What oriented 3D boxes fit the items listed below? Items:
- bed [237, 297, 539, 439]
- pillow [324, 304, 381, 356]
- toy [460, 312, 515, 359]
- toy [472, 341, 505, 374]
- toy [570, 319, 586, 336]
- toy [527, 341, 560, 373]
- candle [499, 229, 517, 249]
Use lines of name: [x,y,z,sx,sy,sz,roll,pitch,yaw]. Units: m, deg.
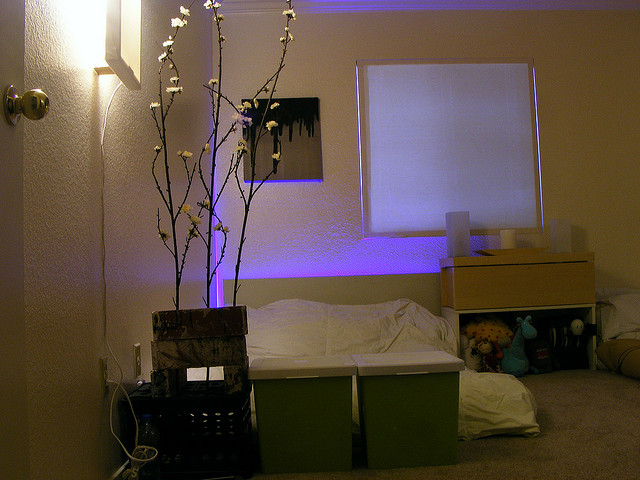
bed: [0.404,0.689,3.569,1.896,0.506,1.134,1,3,29]
pillow: [0.219,0.594,3.795,0.228,0.094,0.318,0,7,4]
toy: [1.194,0.686,4.034,0.239,0.269,0.345,1,-1,3]
toy: [1.171,0.835,3.936,0.208,0.110,0.266,0,33,-20]
toy: [1.871,0.628,4.093,0.078,0.113,0.107,-2,-23,7]
toy: [1.582,0.830,4.081,0.173,0.255,0.169,-8,-7,13]
candle: [1.409,-0.008,4.280,0.127,0.153,0.132,2,-4,0]
